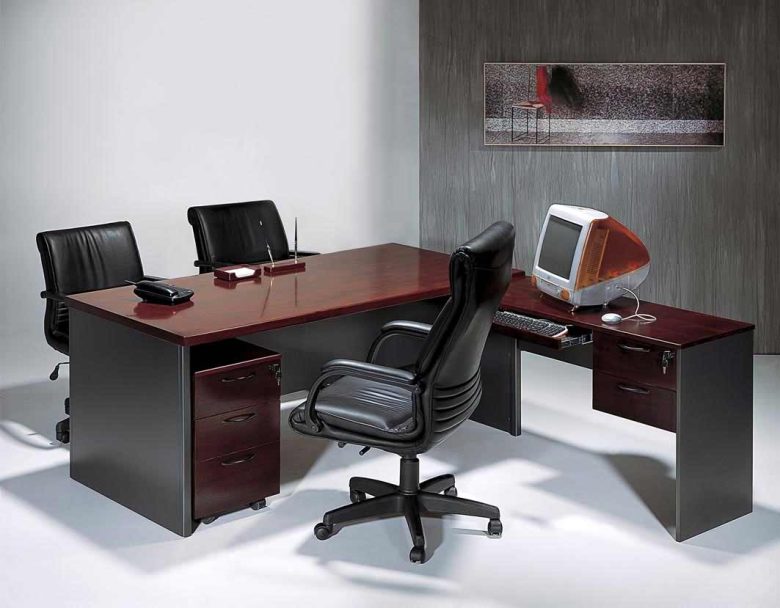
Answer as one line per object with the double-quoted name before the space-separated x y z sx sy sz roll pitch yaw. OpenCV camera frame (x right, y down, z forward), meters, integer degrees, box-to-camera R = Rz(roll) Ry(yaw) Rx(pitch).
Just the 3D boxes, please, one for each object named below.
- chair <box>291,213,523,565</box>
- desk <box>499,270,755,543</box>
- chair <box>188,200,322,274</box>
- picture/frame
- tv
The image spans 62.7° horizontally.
"chair" 0.055 0.330 2.731 0.849 1.278 0.815 3 11 14
"desk" 0.976 0.504 3.306 0.504 0.860 1.328 -6 7 -34
"chair" -0.957 -0.483 4.509 0.639 0.746 0.624 -10 13 -40
"picture/frame" 1.696 -1.569 5.064 1.881 0.628 0.067 1 11 4
"tv" 0.963 -0.269 3.351 0.565 0.534 0.475 -6 11 -32
